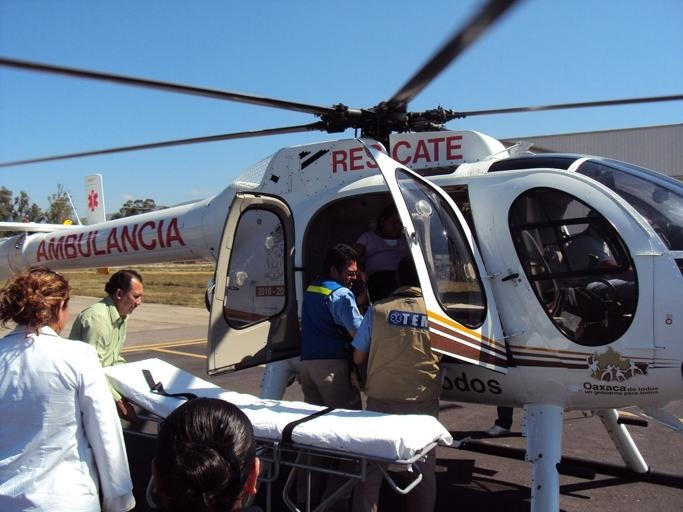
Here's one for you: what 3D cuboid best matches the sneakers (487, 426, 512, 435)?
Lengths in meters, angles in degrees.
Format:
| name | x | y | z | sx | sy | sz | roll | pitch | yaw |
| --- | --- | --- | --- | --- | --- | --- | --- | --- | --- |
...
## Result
| name | x | y | z | sx | sy | sz | roll | pitch | yaw |
| --- | --- | --- | --- | --- | --- | --- | --- | --- | --- |
| sneakers | 1.630 | 1.832 | 5.634 | 0.183 | 0.068 | 0.110 | 5 | -10 | -29 |

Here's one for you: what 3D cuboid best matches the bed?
| name | x | y | z | sx | sy | sz | roll | pitch | yaw |
| --- | --- | --- | --- | --- | --- | --- | --- | --- | --- |
| bed | -0.794 | 0.980 | 3.554 | 3.103 | 0.356 | 0.980 | 4 | 4 | 31 |
